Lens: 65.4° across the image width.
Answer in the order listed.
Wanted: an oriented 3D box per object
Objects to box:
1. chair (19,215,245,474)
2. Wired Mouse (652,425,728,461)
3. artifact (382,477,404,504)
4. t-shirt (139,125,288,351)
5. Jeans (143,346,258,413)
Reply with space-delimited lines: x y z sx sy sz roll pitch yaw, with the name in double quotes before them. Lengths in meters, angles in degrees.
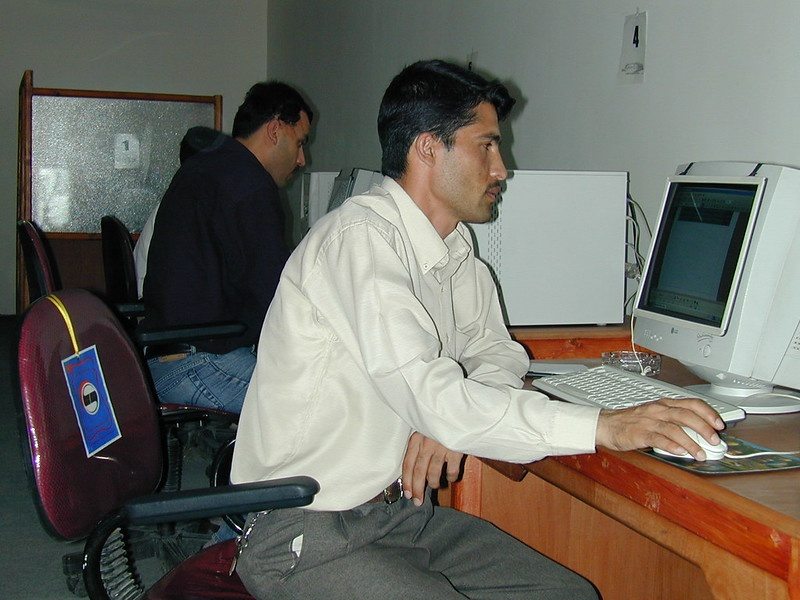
"chair" -1.056 0.043 2.266 0.699 0.893 0.638 -2 5 -17
"Wired Mouse" 0.488 0.231 1.038 0.095 0.031 0.061 1 12 19
"artifact" -0.015 0.369 1.213 0.011 0.045 0.032 7 -10 35
"t-shirt" -0.773 -0.193 2.418 0.805 0.635 0.408 16 20 33
"Jeans" -0.668 0.253 2.153 0.388 0.199 0.226 9 12 9
